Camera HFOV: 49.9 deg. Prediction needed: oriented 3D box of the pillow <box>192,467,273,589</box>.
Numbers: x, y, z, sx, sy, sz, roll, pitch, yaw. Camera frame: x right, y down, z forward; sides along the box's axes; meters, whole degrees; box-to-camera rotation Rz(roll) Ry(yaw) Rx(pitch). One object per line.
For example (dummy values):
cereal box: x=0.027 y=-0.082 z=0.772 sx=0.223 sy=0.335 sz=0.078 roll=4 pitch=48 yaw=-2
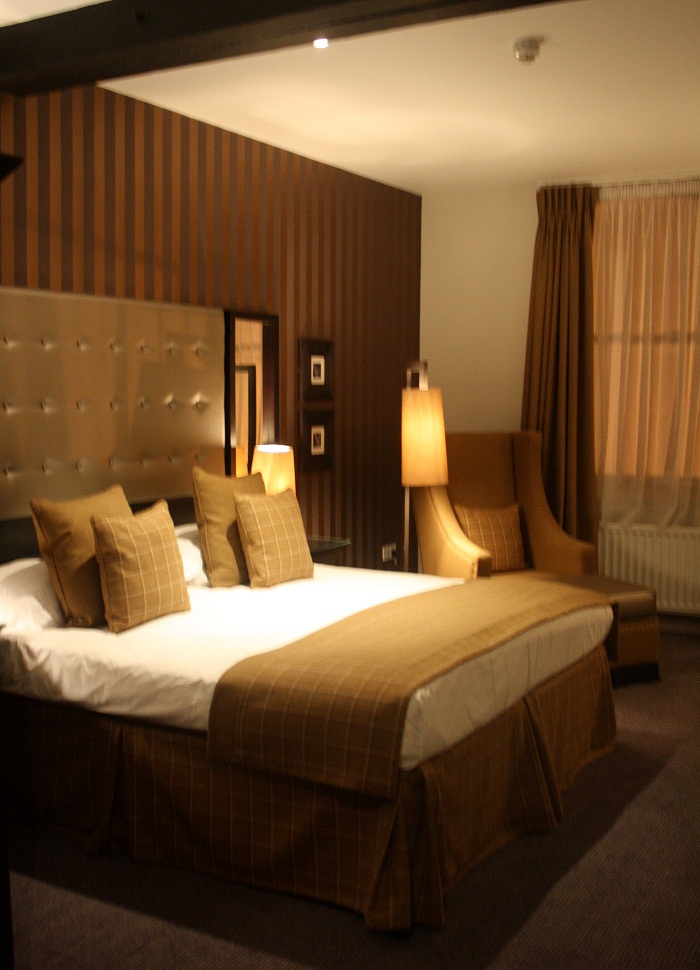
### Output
pillow: x=-0.440 y=0.179 z=2.980 sx=0.130 sy=0.442 sz=0.379 roll=1 pitch=2 yaw=31

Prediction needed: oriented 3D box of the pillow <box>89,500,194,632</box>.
pillow: x=-0.616 y=0.245 z=2.266 sx=0.103 sy=0.368 sz=0.312 roll=-8 pitch=-1 yaw=32

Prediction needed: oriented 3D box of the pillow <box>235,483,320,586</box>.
pillow: x=-0.302 y=0.188 z=2.861 sx=0.078 sy=0.358 sz=0.287 roll=-16 pitch=-9 yaw=30

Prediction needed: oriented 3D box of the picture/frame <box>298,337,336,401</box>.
picture/frame: x=-0.186 y=-0.658 z=4.266 sx=0.035 sy=0.350 sz=0.298 roll=1 pitch=2 yaw=38

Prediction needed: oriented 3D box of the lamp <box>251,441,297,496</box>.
lamp: x=-0.364 y=-0.087 z=3.499 sx=0.156 sy=0.403 sz=0.214 roll=1 pitch=5 yaw=18

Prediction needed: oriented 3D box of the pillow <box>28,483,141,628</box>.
pillow: x=-0.808 y=0.271 z=2.313 sx=0.132 sy=0.383 sz=0.341 roll=-7 pitch=-5 yaw=3
